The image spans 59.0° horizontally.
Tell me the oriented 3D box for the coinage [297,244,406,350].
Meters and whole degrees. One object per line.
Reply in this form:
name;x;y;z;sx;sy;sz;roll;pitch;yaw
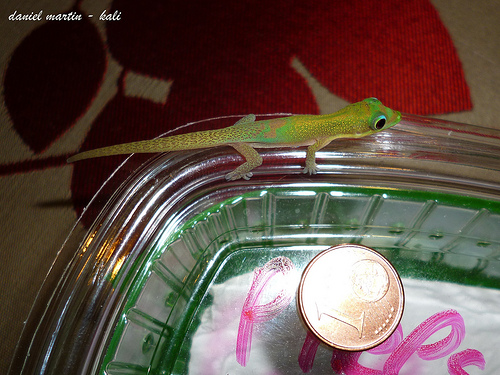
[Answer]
coinage;0.409;0.440;1.792;0.426;0.076;0.392;-33;62;-10

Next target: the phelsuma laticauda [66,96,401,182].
phelsuma laticauda;0.027;-0.204;1.858;1.165;0.246;0.239;-6;58;5
